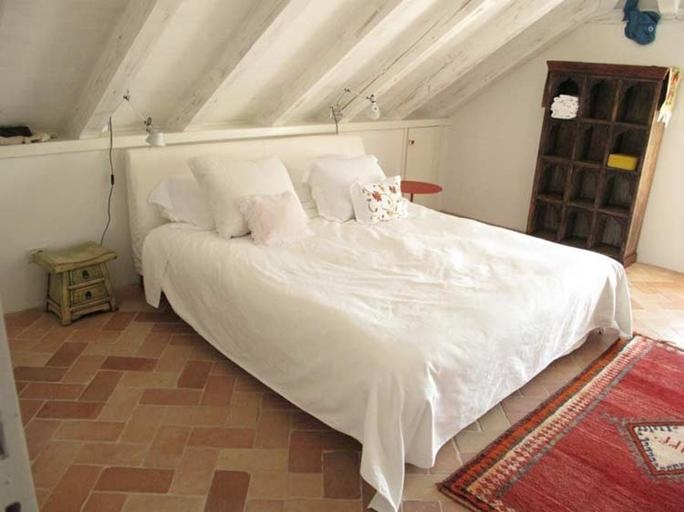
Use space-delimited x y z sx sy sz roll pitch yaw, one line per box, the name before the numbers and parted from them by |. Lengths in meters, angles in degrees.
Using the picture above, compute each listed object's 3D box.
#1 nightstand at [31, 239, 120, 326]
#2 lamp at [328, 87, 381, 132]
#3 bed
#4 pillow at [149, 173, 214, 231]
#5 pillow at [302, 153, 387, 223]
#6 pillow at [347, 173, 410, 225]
nightstand | -1.834 0.181 3.335 0.380 0.447 0.494 15 22 20
lamp | 0.093 -1.290 4.198 0.369 0.361 0.263 -18 42 2
bed | -0.148 -0.069 2.907 2.289 1.069 2.359 -22 36 -39
pillow | -1.098 -0.325 3.344 0.382 0.395 0.114 -15 -9 -22
pillow | -0.011 -0.494 3.593 0.565 0.522 0.164 -4 -5 -34
pillow | 0.284 -0.407 3.644 0.519 0.344 0.184 -11 8 -40
